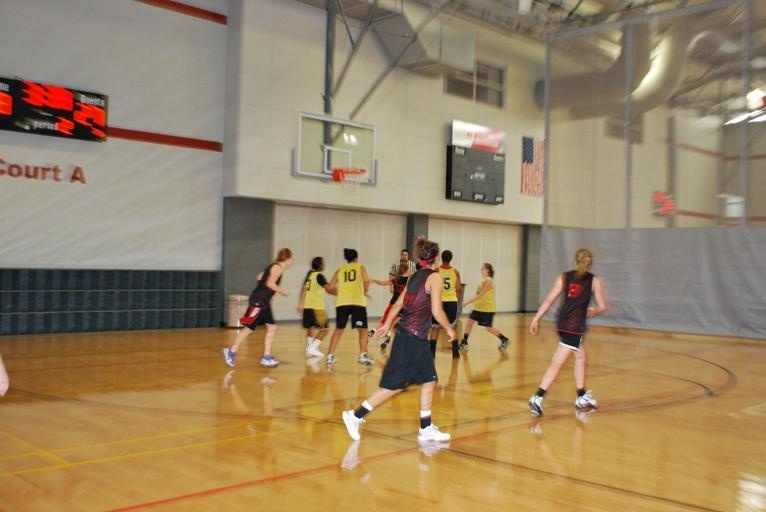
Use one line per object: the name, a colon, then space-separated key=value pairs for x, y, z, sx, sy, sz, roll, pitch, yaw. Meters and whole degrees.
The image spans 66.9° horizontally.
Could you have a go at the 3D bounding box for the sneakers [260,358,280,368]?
sneakers: x=-1.980 y=1.883 z=10.262 sx=0.368 sy=0.175 sz=0.146 roll=3 pitch=0 yaw=-7

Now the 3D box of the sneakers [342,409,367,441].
sneakers: x=-0.348 y=2.031 z=6.985 sx=0.285 sy=0.416 sz=0.160 roll=-16 pitch=4 yaw=8

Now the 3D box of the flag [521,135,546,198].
flag: x=5.398 y=-3.245 z=21.053 sx=1.180 sy=2.165 sz=0.145 roll=0 pitch=-2 yaw=-36

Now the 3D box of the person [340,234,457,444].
person: x=0.275 y=0.986 z=7.030 sx=1.163 sy=2.420 sz=0.783 roll=-1 pitch=-1 yaw=7
